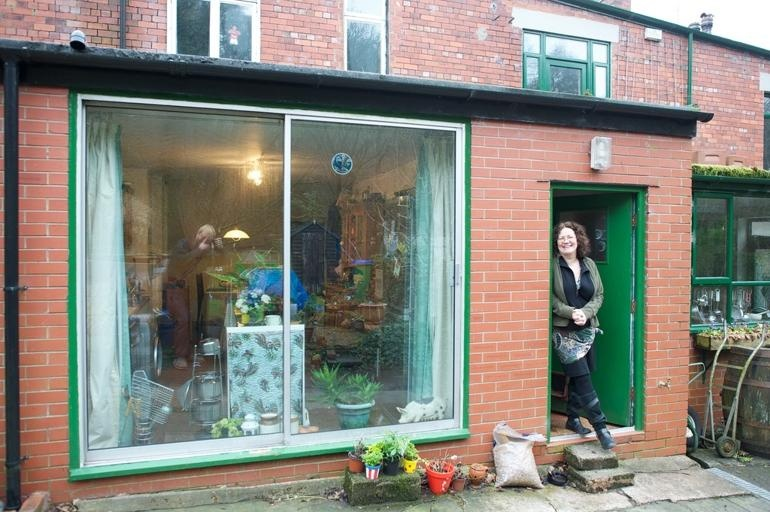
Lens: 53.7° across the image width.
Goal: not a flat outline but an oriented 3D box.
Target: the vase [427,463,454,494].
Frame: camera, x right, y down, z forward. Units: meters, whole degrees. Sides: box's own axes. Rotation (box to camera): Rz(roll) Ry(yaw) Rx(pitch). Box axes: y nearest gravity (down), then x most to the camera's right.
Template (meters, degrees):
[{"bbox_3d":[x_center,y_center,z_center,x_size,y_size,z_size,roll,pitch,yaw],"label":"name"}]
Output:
[{"bbox_3d":[0.588,2.425,8.297,0.290,0.219,0.295,3,-7,-17],"label":"vase"}]

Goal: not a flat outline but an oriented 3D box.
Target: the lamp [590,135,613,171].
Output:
[{"bbox_3d":[2.514,-1.188,8.851,0.275,0.409,0.152,-2,0,-2],"label":"lamp"}]

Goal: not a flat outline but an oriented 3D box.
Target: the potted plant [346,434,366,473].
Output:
[{"bbox_3d":[-0.269,2.158,8.181,0.201,0.269,0.210,-4,-6,-40],"label":"potted plant"}]

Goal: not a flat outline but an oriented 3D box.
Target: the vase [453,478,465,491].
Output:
[{"bbox_3d":[0.803,2.492,8.309,0.133,0.096,0.129,1,-3,0],"label":"vase"}]

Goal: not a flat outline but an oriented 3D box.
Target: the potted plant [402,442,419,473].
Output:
[{"bbox_3d":[0.264,2.179,8.160,0.260,0.274,0.284,1,-8,-6],"label":"potted plant"}]

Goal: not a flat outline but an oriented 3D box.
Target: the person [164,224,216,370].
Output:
[{"bbox_3d":[-2.115,0.435,8.252,0.425,1.452,0.487,1,5,-15],"label":"person"}]

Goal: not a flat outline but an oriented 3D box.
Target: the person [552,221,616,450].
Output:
[{"bbox_3d":[2.285,0.910,8.843,0.743,2.489,0.973,-4,4,-8],"label":"person"}]

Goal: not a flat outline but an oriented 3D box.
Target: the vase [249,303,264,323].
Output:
[{"bbox_3d":[-1.389,0.642,8.298,0.173,0.247,0.177,3,-6,-22],"label":"vase"}]

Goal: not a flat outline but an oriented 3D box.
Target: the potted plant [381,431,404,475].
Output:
[{"bbox_3d":[0.012,2.120,8.190,0.358,0.420,0.346,-1,-1,-3],"label":"potted plant"}]

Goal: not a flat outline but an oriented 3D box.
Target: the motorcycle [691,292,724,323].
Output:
[{"bbox_3d":[4.191,0.649,9.883,0.552,0.482,0.039,1,-3,-11],"label":"motorcycle"}]

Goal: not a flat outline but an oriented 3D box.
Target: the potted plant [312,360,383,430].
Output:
[{"bbox_3d":[-0.411,1.628,8.629,0.739,0.761,0.458,-4,0,-21],"label":"potted plant"}]

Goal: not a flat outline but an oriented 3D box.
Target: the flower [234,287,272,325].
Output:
[{"bbox_3d":[-1.440,0.524,8.453,0.450,0.422,0.350,1,0,7],"label":"flower"}]
